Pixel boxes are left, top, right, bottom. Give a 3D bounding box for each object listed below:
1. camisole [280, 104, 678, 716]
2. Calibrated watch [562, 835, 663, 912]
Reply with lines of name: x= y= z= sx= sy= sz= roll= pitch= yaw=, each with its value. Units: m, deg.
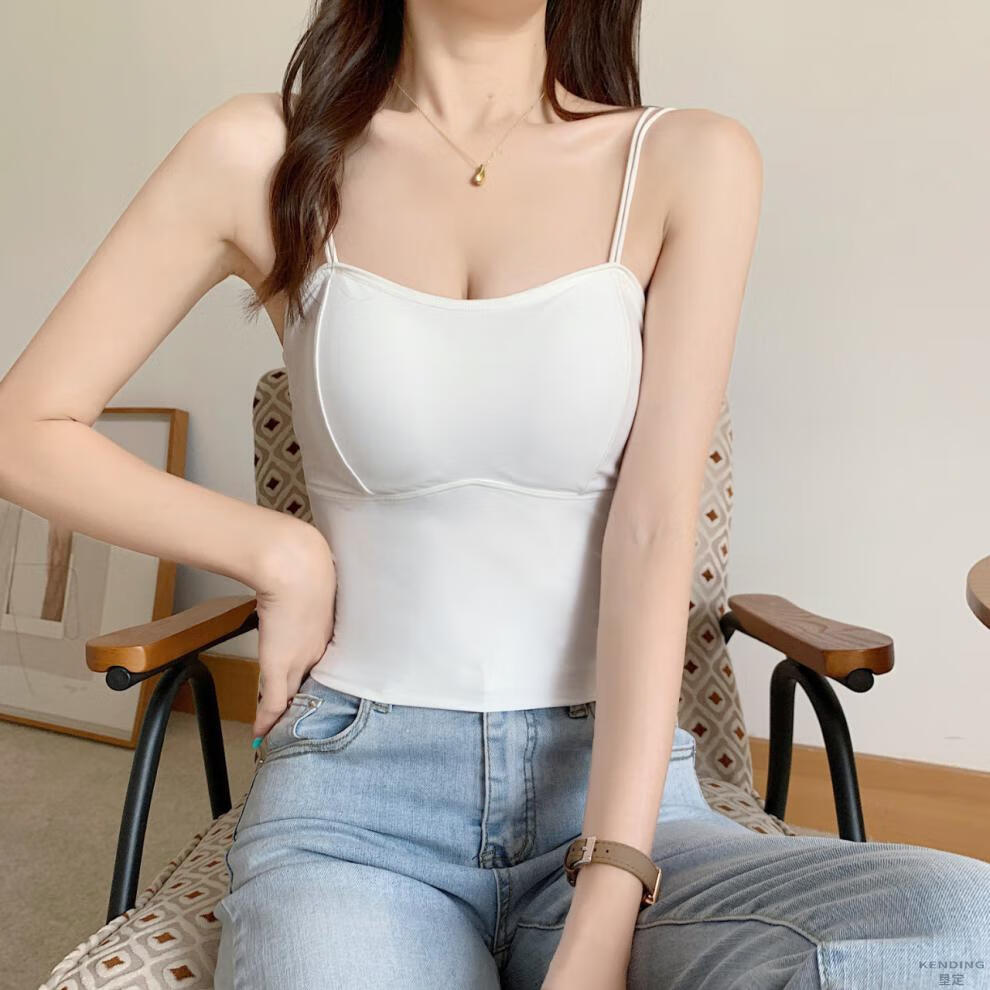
camisole: x=-0.023 y=-0.037 z=0.929 sx=0.335 sy=0.151 sz=0.477 roll=-2 pitch=73 yaw=-1
Calibrated watch: x=0.093 y=0.282 z=0.760 sx=0.075 sy=0.073 sz=0.043 roll=29 pitch=70 yaw=-13
